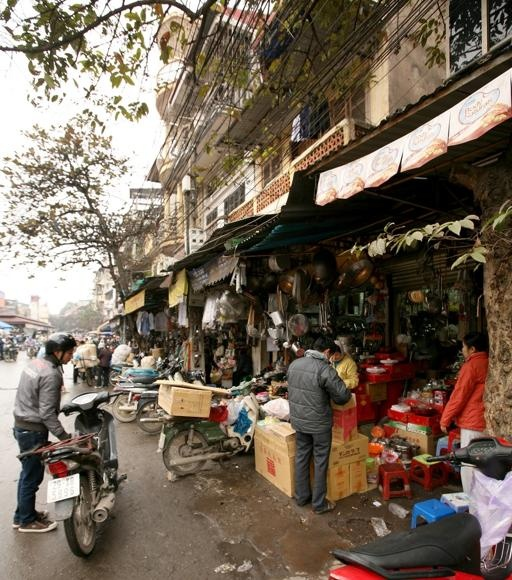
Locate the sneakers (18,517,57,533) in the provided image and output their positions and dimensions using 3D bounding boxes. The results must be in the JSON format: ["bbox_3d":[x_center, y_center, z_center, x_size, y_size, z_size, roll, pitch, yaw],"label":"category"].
[{"bbox_3d":[-2.070,2.219,4.593,0.315,0.122,0.125,2,-3,-16],"label":"sneakers"}]

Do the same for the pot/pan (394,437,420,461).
[{"bbox_3d":[1.669,1.813,5.535,0.174,0.121,0.255,4,-10,-12],"label":"pot/pan"}]

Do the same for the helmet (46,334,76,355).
[{"bbox_3d":[-1.890,0.517,4.713,0.195,0.216,0.251,13,-19,-16],"label":"helmet"}]

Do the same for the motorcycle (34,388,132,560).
[{"bbox_3d":[-1.575,1.657,4.466,0.634,1.433,1.235,-4,1,-14],"label":"motorcycle"}]
